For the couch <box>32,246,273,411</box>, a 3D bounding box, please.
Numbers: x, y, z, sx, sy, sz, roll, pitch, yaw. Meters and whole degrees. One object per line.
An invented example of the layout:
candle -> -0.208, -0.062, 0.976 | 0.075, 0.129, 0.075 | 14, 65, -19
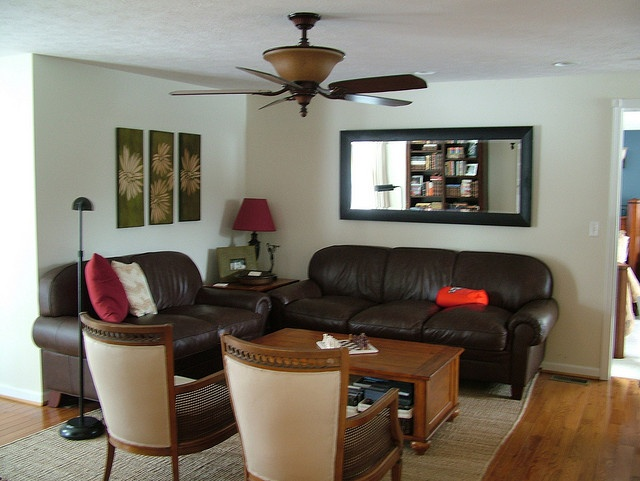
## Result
couch -> -1.400, 0.677, 4.685 | 1.160, 0.855, 1.778 | 14, 13, 23

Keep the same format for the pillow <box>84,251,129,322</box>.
pillow -> -1.784, 0.334, 4.350 | 0.364, 0.256, 0.781 | -18, 38, -18

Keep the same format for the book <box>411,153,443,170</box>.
book -> 1.140, -0.842, 5.487 | 0.267, 0.075, 0.291 | 0, 2, 15

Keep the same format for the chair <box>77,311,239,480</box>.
chair -> -0.874, 0.904, 2.895 | 0.773, 0.996, 0.388 | -3, 12, -17

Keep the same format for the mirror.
mirror -> 1.301, -0.675, 5.538 | 2.560, 0.969, 0.036 | -3, 10, -26

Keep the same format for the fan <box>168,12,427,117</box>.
fan -> -0.049, -1.121, 3.345 | 1.201, 0.612, 0.781 | -2, 10, -14

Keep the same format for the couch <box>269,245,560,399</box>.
couch -> 0.913, 0.623, 5.184 | 2.722, 0.833, 0.998 | 3, 24, 26

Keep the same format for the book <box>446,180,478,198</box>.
book -> 1.466, -0.542, 5.383 | 0.321, 0.189, 0.069 | 2, 12, 12

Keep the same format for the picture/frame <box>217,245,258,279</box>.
picture/frame -> -0.952, 0.257, 5.891 | 0.540, 0.285, 0.068 | -4, -5, -35

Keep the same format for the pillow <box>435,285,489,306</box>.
pillow -> 1.344, 0.530, 4.974 | 0.404, 0.103, 0.214 | 0, 8, 32

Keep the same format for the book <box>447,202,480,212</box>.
book -> 1.482, -0.347, 5.387 | 0.334, 0.087, 0.040 | 3, 12, 17

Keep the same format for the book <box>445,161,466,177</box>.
book -> 1.405, -0.753, 5.383 | 0.213, 0.156, 0.033 | 5, 13, 29
